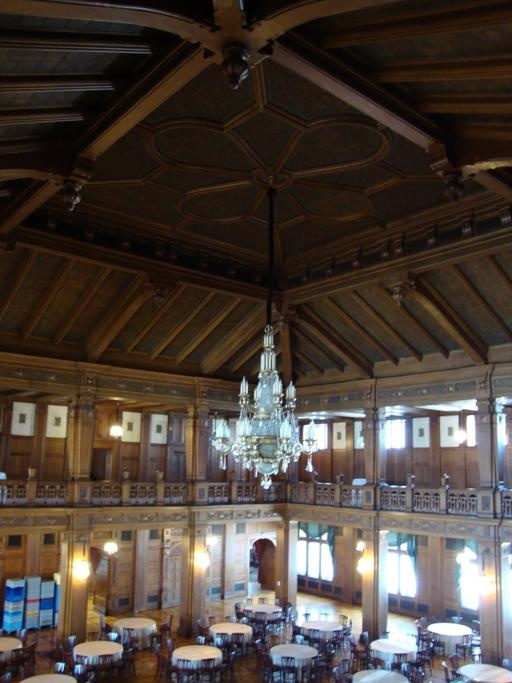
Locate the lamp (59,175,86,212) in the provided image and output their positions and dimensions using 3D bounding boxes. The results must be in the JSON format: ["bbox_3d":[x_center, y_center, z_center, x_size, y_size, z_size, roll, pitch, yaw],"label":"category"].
[{"bbox_3d":[-2.000,-1.637,6.437,0.212,0.415,0.407,4,-13,-18],"label":"lamp"}]

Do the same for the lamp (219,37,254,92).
[{"bbox_3d":[-0.157,-2.077,4.444,0.209,0.313,0.209,0,-13,0],"label":"lamp"}]
